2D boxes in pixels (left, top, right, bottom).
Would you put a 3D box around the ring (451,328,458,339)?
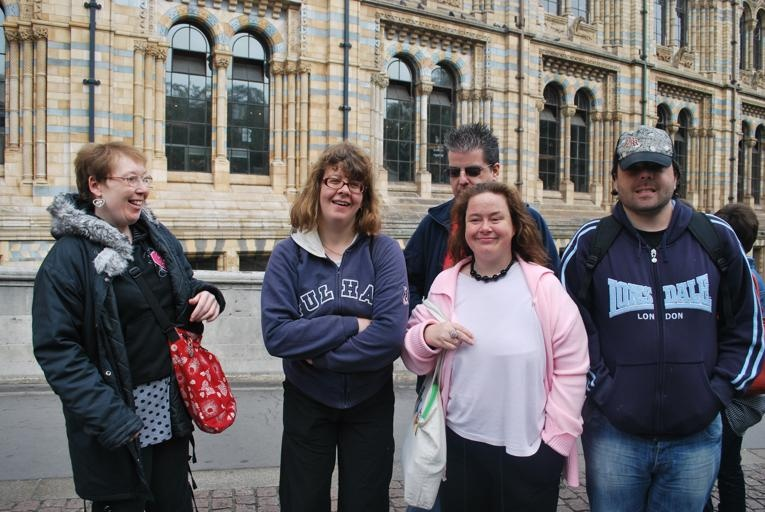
[{"bbox_3d":[0.947,1.013,13.354,0.086,0.114,0.032,-3,-34,4],"label":"ring"}]
